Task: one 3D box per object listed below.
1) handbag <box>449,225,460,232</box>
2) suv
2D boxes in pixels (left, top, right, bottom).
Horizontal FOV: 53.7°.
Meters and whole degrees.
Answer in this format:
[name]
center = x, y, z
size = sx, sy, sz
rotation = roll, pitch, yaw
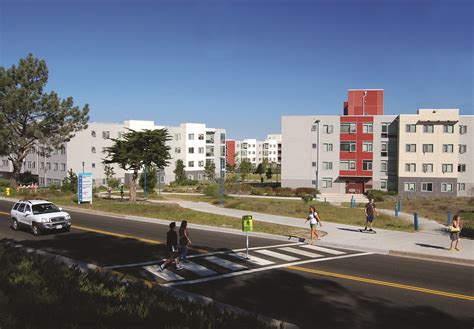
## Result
[handbag]
center = 14.111, 4.221, 30.467
size = 0.435, 0.418, 0.203
rotation = 1, -13, -1
[suv]
center = -14.631, 3.952, 34.714
size = 4.139, 2.617, 2.000
rotation = 2, -2, 30
